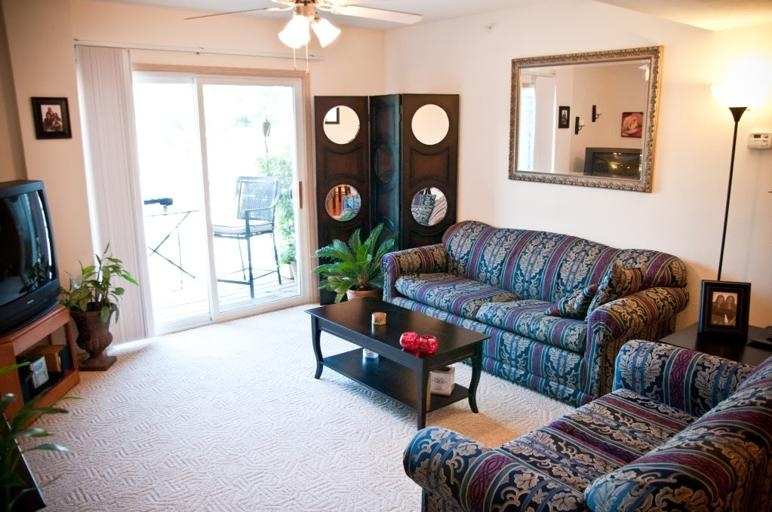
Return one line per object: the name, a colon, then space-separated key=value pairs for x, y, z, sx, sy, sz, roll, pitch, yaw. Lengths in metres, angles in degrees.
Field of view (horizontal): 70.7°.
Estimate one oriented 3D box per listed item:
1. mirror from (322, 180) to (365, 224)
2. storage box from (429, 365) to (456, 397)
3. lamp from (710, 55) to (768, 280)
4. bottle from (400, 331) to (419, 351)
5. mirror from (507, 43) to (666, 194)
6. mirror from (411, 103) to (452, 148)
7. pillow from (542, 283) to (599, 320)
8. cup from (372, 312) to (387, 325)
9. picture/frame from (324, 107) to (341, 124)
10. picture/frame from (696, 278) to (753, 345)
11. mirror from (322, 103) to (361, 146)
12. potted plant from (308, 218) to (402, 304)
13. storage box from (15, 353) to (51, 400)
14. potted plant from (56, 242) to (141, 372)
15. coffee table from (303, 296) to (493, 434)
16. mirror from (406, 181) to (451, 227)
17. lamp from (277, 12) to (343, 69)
mirror: x=-0.500 y=-0.618 z=6.121 sx=0.436 sy=0.434 sz=0.056 roll=10 pitch=11 yaw=-16
storage box: x=0.430 y=0.958 z=4.177 sx=0.215 sy=0.204 sz=0.213 roll=1 pitch=-5 yaw=-8
lamp: x=2.629 y=-0.630 z=4.230 sx=0.346 sy=1.673 sz=0.380 roll=13 pitch=21 yaw=42
bottle: x=0.164 y=0.618 z=3.938 sx=0.123 sy=0.085 sz=0.123 roll=-1 pitch=4 yaw=0
mirror: x=1.856 y=-1.255 z=4.905 sx=1.432 sy=1.207 sz=0.108 roll=10 pitch=16 yaw=41
mirror: x=0.475 y=-1.390 z=5.796 sx=0.424 sy=0.414 sz=0.034 roll=-5 pitch=16 yaw=-16
pillow: x=1.482 y=0.381 z=4.296 sx=0.094 sy=0.290 sz=0.306 roll=31 pitch=-11 yaw=-33
cup: x=-0.054 y=0.494 z=4.354 sx=0.094 sy=0.061 sz=0.095 roll=2 pitch=16 yaw=-1
picture/frame: x=-0.590 y=-1.517 z=5.927 sx=0.170 sy=0.175 sz=0.037 roll=-3 pitch=15 yaw=-7
picture/frame: x=2.426 y=0.412 z=3.890 sx=0.423 sy=0.575 sz=0.081 roll=3 pitch=-4 yaw=16
mirror: x=-0.531 y=-1.457 z=6.013 sx=0.045 sy=0.539 sz=0.537 roll=-22 pitch=26 yaw=-31
potted plant: x=-0.309 y=0.065 z=5.843 sx=0.881 sy=0.727 sz=0.874 roll=0 pitch=8 yaw=14
storage box: x=-2.787 y=0.925 z=4.297 sx=0.149 sy=0.218 sz=0.269 roll=-6 pitch=9 yaw=-8
potted plant: x=-2.661 y=0.478 z=4.900 sx=0.666 sy=1.034 sz=0.511 roll=-2 pitch=8 yaw=-35
coffee table: x=0.056 y=0.840 z=4.451 sx=0.704 sy=0.617 sz=1.352 roll=-10 pitch=16 yaw=-42
mirror: x=0.479 y=-0.536 z=5.925 sx=0.422 sy=0.423 sz=0.103 roll=19 pitch=3 yaw=-20
lamp: x=-0.544 y=-1.614 z=3.916 sx=0.238 sy=0.234 sz=0.379 roll=10 pitch=18 yaw=37
